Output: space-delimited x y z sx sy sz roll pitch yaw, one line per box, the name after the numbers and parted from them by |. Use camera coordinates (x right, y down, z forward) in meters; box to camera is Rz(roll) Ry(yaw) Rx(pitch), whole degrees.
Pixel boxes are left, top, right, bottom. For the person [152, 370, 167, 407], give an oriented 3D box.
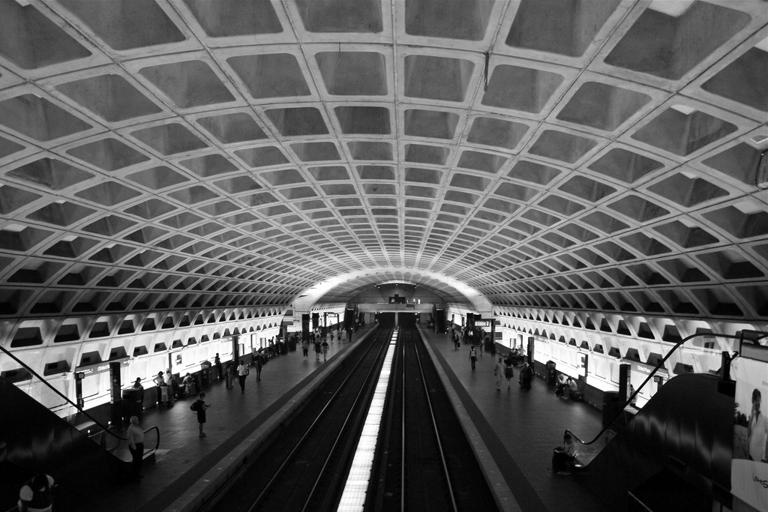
-12.527 7.438 26.199 0.539 1.785 1.163 12 -17 -41 | person

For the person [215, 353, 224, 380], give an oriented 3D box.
-11.675 7.848 33.009 0.606 1.688 0.978 5 -14 -19 | person

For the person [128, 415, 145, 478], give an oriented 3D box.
-8.627 6.583 16.110 0.548 2.058 0.542 7 -14 -27 | person

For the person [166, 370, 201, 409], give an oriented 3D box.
-11.955 7.933 28.000 1.553 0.796 2.142 0 2 -7 | person

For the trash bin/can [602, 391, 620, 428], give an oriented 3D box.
10.470 7.050 21.575 0.819 1.510 0.771 -4 -14 22 | trash bin/can

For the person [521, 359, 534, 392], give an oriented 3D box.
9.034 7.631 29.752 0.704 1.592 1.806 -3 -13 15 | person
